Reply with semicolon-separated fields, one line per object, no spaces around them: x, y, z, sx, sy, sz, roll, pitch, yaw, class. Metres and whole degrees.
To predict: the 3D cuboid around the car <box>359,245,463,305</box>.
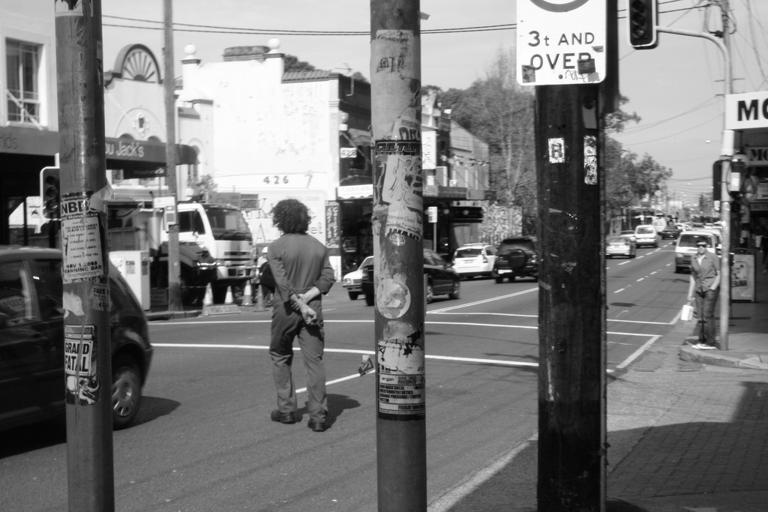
1.398;0.556;28.760;1.382;1.294;2.973;-1;2;32;car

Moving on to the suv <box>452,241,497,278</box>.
4.139;0.151;43.299;1.211;1.047;2.438;0;4;16;suv

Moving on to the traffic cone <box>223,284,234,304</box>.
-4.524;1.105;28.582;0.458;0.632;0.468;-1;1;2;traffic cone

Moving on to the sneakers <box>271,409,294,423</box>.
-1.269;2.043;12.722;0.134;0.154;0.325;-2;9;-45;sneakers

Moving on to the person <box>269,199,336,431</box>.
-1.013;0.729;12.364;0.809;2.866;0.556;-2;5;4;person

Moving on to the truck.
-6.721;-0.147;29.557;4.191;2.659;2.411;-3;-2;22;truck

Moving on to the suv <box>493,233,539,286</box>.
5.057;0.138;38.204;1.810;1.785;4.101;0;4;13;suv
